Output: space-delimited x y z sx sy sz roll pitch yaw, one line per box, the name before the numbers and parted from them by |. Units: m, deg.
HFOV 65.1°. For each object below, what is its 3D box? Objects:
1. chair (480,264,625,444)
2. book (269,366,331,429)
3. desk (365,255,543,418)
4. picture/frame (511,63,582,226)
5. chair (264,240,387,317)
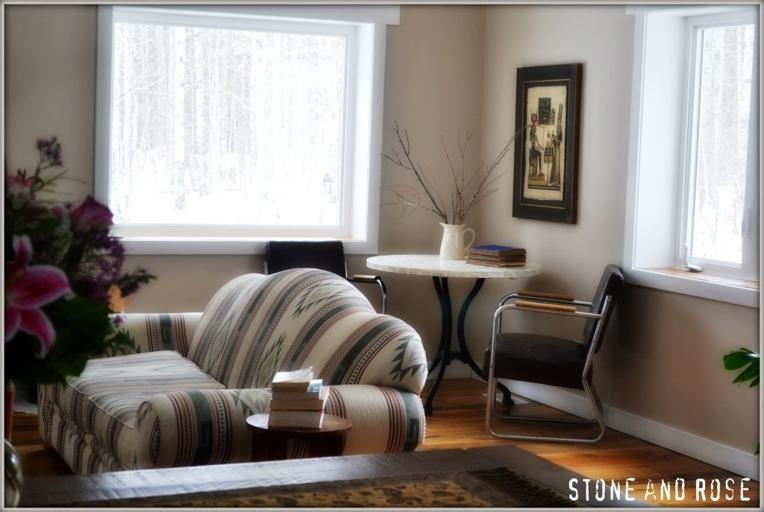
chair | 1.080 0.627 3.909 0.818 1.114 0.975 -1 -5 9
book | -0.297 0.487 2.115 0.162 0.107 0.223 2 2 -2
desk | 0.566 0.459 4.477 1.190 0.967 1.166 2 6 10
picture/frame | 1.225 -0.847 4.503 0.196 1.263 0.721 2 -6 -24
chair | -0.406 0.141 4.474 0.651 0.865 0.668 0 -3 -15
